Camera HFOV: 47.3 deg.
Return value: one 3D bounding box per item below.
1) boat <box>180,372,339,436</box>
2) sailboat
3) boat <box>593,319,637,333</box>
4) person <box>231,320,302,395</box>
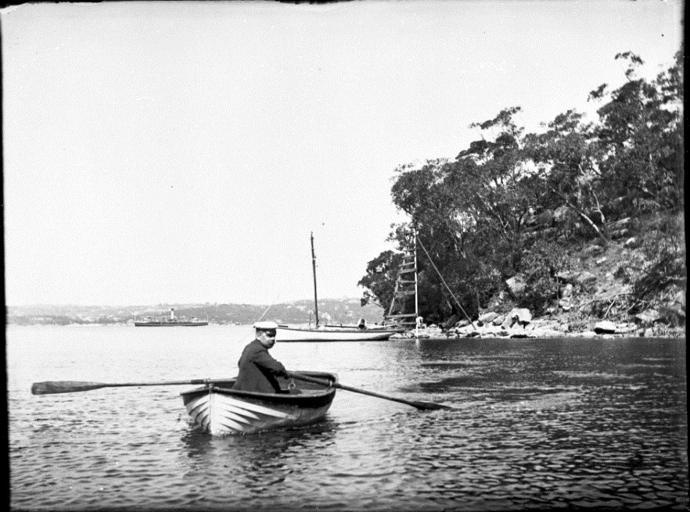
[{"bbox_3d":[-2.428,4.582,24.475,4.198,1.644,6.172,0,-4,15],"label":"boat"},{"bbox_3d":[1.242,4.987,79.234,10.681,11.421,12.962,-1,-2,-37],"label":"sailboat"},{"bbox_3d":[21.503,5.718,62.272,2.837,0.962,1.389,-1,0,9],"label":"boat"},{"bbox_3d":[-2.391,2.906,22.057,1.410,2.036,1.060,-1,1,-9],"label":"person"}]
